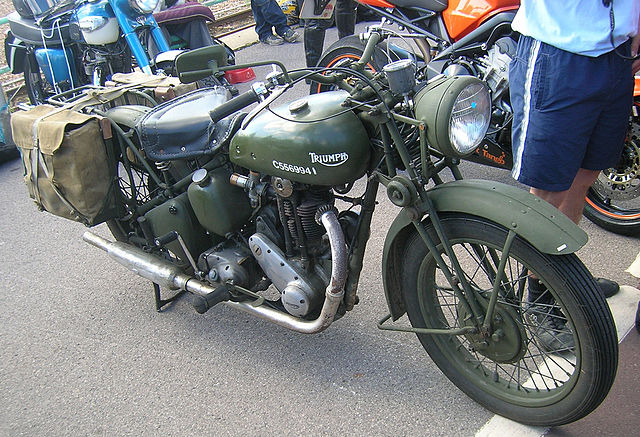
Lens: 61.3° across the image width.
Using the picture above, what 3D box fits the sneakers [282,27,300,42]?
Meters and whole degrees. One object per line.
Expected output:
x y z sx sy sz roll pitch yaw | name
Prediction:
-0.450 -2.887 8.466 0.306 0.146 0.145 26 68 36 | sneakers

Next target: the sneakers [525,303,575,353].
1.327 0.629 3.098 0.132 0.171 0.362 -23 43 -2 | sneakers

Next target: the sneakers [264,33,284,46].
-0.748 -2.823 8.502 0.310 0.128 0.148 8 56 19 | sneakers
